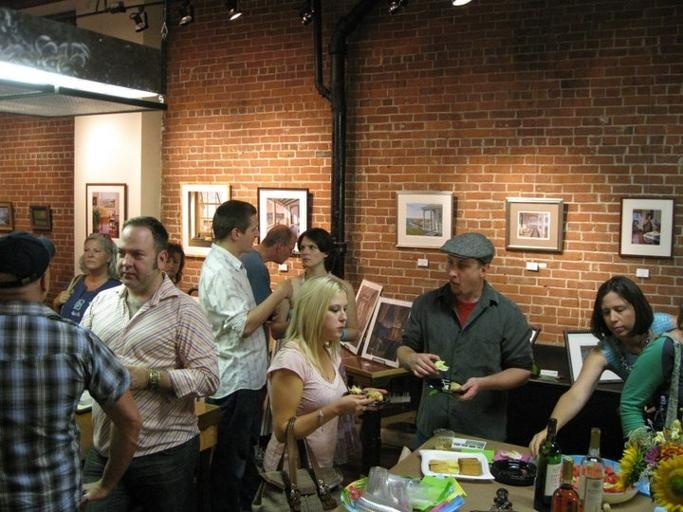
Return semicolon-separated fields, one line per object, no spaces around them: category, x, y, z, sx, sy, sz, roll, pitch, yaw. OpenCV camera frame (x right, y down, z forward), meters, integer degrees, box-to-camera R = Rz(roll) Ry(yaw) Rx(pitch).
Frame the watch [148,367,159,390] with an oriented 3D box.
watch;-0.917;0.608;2.647;0.053;0.086;0.083;7;30;-9

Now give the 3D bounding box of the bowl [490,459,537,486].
bowl;0.883;1.095;2.747;0.214;0.052;0.234;0;3;0

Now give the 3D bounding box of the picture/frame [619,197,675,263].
picture/frame;2.886;-0.258;5.003;0.633;0.756;0.053;2;1;17

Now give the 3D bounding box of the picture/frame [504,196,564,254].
picture/frame;1.961;-0.324;5.360;0.587;0.553;0.064;3;4;23

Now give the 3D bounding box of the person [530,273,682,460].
person;1.501;0.473;3.010;1.361;0.567;0.568;-17;19;-38

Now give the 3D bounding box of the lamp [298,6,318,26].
lamp;-0.365;-2.588;5.769;0.145;0.209;0.248;0;3;1

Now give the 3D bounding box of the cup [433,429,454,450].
cup;0.571;1.000;2.953;0.092;0.084;0.109;0;-5;8

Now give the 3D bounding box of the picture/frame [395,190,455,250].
picture/frame;0.917;-0.408;5.718;0.668;0.631;0.049;4;2;27

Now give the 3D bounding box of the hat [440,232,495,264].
hat;0.801;-0.054;3.311;0.263;0.106;0.212;5;8;-41

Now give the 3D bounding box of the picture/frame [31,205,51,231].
picture/frame;-4.663;-0.596;8.302;0.397;0.374;0.057;5;7;24

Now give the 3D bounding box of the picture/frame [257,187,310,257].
picture/frame;-0.613;-0.400;5.904;0.892;0.983;0.044;-1;-3;25

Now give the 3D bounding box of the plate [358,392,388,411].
plate;0.175;0.747;2.842;0.133;0.087;0.293;1;3;5

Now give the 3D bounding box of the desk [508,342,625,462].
desk;1.740;1.101;4.233;1.019;0.912;0.700;2;0;41

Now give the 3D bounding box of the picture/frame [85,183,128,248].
picture/frame;-2.860;-0.535;6.531;0.891;0.984;0.044;5;4;30

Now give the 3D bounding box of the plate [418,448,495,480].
plate;0.597;1.068;2.793;0.360;0.090;0.339;1;3;4
